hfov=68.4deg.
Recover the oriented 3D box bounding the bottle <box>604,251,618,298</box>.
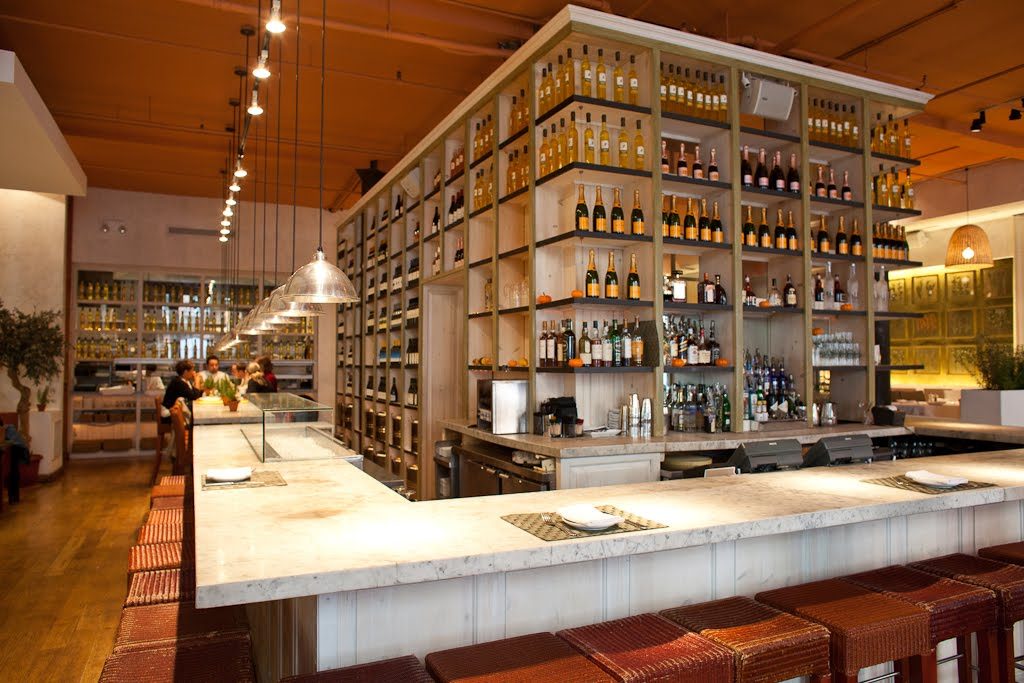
[{"bbox_3d":[0.895,-0.596,6.741,0.131,0.449,0.297,-1,-4,7],"label":"bottle"}]

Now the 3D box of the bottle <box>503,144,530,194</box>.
[{"bbox_3d":[0.055,-1.630,7.223,0.155,0.477,0.398,1,-4,-23],"label":"bottle"}]

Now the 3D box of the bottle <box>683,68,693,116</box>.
[{"bbox_3d":[1.675,-2.363,7.102,0.082,0.429,0.188,-2,-4,18],"label":"bottle"}]

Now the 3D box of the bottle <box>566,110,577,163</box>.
[{"bbox_3d":[0.549,-1.806,6.694,0.090,0.413,0.165,-1,-4,4],"label":"bottle"}]

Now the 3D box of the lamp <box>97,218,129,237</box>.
[{"bbox_3d":[-6.785,-1.960,12.945,0.497,0.302,0.173,3,-4,-37],"label":"lamp"}]

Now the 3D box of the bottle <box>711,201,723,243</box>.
[{"bbox_3d":[1.933,-1.124,7.111,0.123,0.396,0.125,-1,-4,0],"label":"bottle"}]

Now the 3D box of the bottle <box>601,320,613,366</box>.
[{"bbox_3d":[0.851,0.022,6.718,0.082,0.400,0.235,-1,-4,7],"label":"bottle"}]

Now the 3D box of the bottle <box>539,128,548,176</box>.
[{"bbox_3d":[0.304,-1.722,6.837,0.100,0.431,0.057,-1,-4,-2],"label":"bottle"}]

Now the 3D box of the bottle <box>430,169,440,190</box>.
[{"bbox_3d":[-0.884,-1.913,8.914,0.146,0.210,0.050,0,1,1],"label":"bottle"}]

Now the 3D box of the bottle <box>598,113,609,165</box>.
[{"bbox_3d":[0.836,-1.781,6.738,0.103,0.491,0.293,-1,-4,7],"label":"bottle"}]

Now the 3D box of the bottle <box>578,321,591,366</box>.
[{"bbox_3d":[0.647,0.017,6.633,0.113,0.387,0.241,-1,-4,4],"label":"bottle"}]

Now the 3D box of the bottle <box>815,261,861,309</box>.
[{"bbox_3d":[3.356,-0.564,7.737,0.148,0.428,0.447,4,-8,-21],"label":"bottle"}]

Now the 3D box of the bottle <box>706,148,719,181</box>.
[{"bbox_3d":[1.902,-1.665,7.114,0.109,0.366,0.207,-2,-4,13],"label":"bottle"}]

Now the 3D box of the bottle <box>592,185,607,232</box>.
[{"bbox_3d":[0.785,-1.151,6.690,0.135,0.472,0.384,-1,-4,7],"label":"bottle"}]

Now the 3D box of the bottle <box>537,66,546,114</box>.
[{"bbox_3d":[0.286,-2.288,6.839,0.083,0.444,0.061,-2,-4,16],"label":"bottle"}]

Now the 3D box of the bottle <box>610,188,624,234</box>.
[{"bbox_3d":[0.952,-1.153,6.730,0.127,0.464,0.347,-2,-4,9],"label":"bottle"}]

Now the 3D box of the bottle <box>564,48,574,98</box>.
[{"bbox_3d":[0.513,-2.363,6.647,0.094,0.428,0.175,-1,-4,4],"label":"bottle"}]

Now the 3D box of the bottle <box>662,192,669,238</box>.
[{"bbox_3d":[1.426,-1.182,6.963,0.065,0.437,0.411,-2,-4,13],"label":"bottle"}]

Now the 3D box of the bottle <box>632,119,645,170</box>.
[{"bbox_3d":[1.143,-1.777,6.787,0.072,0.472,0.135,1,-4,-27],"label":"bottle"}]

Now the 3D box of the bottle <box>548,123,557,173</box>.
[{"bbox_3d":[0.379,-1.751,6.820,0.117,0.426,0.088,-1,-4,4],"label":"bottle"}]

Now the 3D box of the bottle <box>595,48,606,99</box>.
[{"bbox_3d":[0.807,-2.387,6.777,0.083,0.439,0.180,-2,-4,11],"label":"bottle"}]

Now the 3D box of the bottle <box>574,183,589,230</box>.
[{"bbox_3d":[0.628,-1.158,6.623,0.132,0.468,0.368,-1,-4,4],"label":"bottle"}]

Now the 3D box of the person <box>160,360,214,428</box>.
[{"bbox_3d":[-4.607,0.716,10.665,0.610,0.903,0.518,4,15,-31],"label":"person"}]

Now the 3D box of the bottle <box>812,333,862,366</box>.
[{"bbox_3d":[3.236,0.094,7.522,0.465,0.439,0.345,1,-7,-16],"label":"bottle"}]

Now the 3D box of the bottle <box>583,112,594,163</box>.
[{"bbox_3d":[0.698,-1.807,6.747,0.105,0.441,0.210,-1,-4,7],"label":"bottle"}]

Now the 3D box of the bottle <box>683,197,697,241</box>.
[{"bbox_3d":[1.698,-1.153,7.149,0.137,0.480,0.542,-2,-4,14],"label":"bottle"}]

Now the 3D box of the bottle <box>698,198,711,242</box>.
[{"bbox_3d":[1.825,-1.147,7.122,0.111,0.474,0.321,-2,-4,14],"label":"bottle"}]

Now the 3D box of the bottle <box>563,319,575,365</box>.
[{"bbox_3d":[0.516,-0.012,6.696,0.109,0.372,0.094,-1,-4,4],"label":"bottle"}]

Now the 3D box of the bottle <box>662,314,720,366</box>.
[{"bbox_3d":[1.675,0.007,7.033,0.453,0.422,0.145,2,-9,-21],"label":"bottle"}]

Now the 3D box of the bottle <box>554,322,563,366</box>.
[{"bbox_3d":[0.432,0.056,6.692,0.048,0.253,0.073,0,-4,-15],"label":"bottle"}]

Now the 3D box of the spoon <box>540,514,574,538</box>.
[{"bbox_3d":[0.254,1.010,4.097,0.085,0.033,0.285,-5,0,-9],"label":"spoon"}]

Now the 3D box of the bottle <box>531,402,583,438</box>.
[{"bbox_3d":[0.388,0.680,6.618,0.422,0.365,0.258,1,-2,-12],"label":"bottle"}]

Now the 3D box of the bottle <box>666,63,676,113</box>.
[{"bbox_3d":[1.505,-2.374,7.038,0.052,0.438,0.178,-2,-4,13],"label":"bottle"}]

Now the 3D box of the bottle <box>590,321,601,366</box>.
[{"bbox_3d":[0.756,0.016,6.658,0.095,0.428,0.313,-1,-4,7],"label":"bottle"}]

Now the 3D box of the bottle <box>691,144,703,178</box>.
[{"bbox_3d":[1.769,-1.712,7.175,0.103,0.419,0.342,-2,-4,15],"label":"bottle"}]

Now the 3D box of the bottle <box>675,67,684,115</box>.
[{"bbox_3d":[1.582,-2.367,7.051,0.085,0.440,0.197,-2,-4,13],"label":"bottle"}]

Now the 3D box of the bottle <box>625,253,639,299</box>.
[{"bbox_3d":[1.095,-0.567,6.734,0.127,0.420,0.238,-2,-4,11],"label":"bottle"}]

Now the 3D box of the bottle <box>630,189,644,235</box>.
[{"bbox_3d":[1.122,-1.146,6.713,0.120,0.417,0.128,-1,-4,0],"label":"bottle"}]

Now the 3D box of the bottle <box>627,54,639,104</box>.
[{"bbox_3d":[1.106,-2.363,6.807,0.097,0.465,0.126,-2,-4,10],"label":"bottle"}]

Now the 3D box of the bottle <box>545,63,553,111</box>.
[{"bbox_3d":[0.352,-2.308,6.798,0.077,0.445,0.113,-1,-4,3],"label":"bottle"}]

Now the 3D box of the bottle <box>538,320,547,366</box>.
[{"bbox_3d":[0.287,0.007,6.801,0.086,0.394,0.090,-1,-4,0],"label":"bottle"}]

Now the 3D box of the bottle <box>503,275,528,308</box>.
[{"bbox_3d":[0.048,-0.473,7.298,0.321,0.324,0.200,1,-5,-10],"label":"bottle"}]

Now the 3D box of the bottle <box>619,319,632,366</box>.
[{"bbox_3d":[1.027,0.032,6.716,0.083,0.359,0.171,-1,-4,8],"label":"bottle"}]

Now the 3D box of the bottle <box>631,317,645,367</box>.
[{"bbox_3d":[1.122,0.021,6.699,0.100,0.377,0.074,-2,-4,9],"label":"bottle"}]
